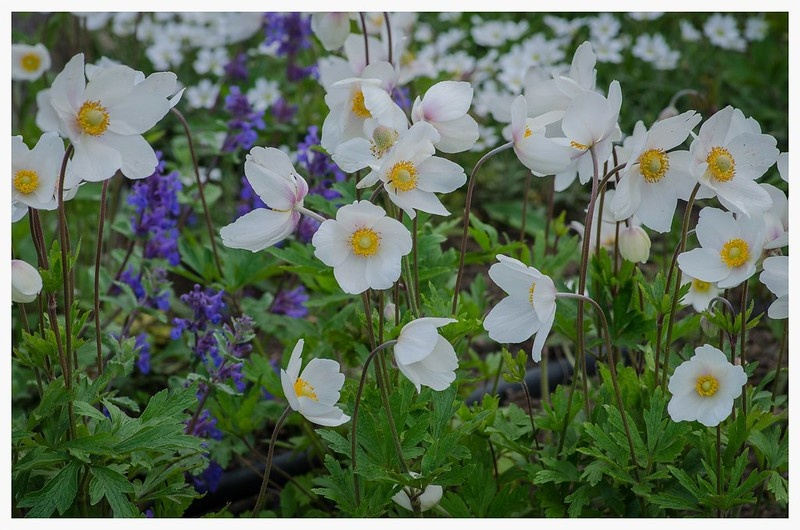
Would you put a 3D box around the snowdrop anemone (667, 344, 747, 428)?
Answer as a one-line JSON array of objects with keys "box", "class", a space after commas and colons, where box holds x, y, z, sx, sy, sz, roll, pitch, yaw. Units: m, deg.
[{"box": [0.886, 0.353, 2.064, 0.206, 0.220, 0.094, 1, 23, 22], "class": "snowdrop anemone"}]

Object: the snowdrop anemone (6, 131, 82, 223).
[{"box": [-1.053, -0.265, 2.085, 0.227, 0.318, 0.105, 0, 2, -14], "class": "snowdrop anemone"}]

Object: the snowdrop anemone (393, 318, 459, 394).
[{"box": [0.071, 0.246, 1.963, 0.171, 0.199, 0.097, -13, 22, -12], "class": "snowdrop anemone"}]

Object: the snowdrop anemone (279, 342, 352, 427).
[{"box": [-0.271, 0.336, 2.147, 0.117, 0.202, 0.250, -31, 24, 29], "class": "snowdrop anemone"}]

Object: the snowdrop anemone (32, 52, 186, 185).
[{"box": [-0.872, -0.474, 2.095, 0.410, 0.458, 0.173, 7, 63, -3], "class": "snowdrop anemone"}]
